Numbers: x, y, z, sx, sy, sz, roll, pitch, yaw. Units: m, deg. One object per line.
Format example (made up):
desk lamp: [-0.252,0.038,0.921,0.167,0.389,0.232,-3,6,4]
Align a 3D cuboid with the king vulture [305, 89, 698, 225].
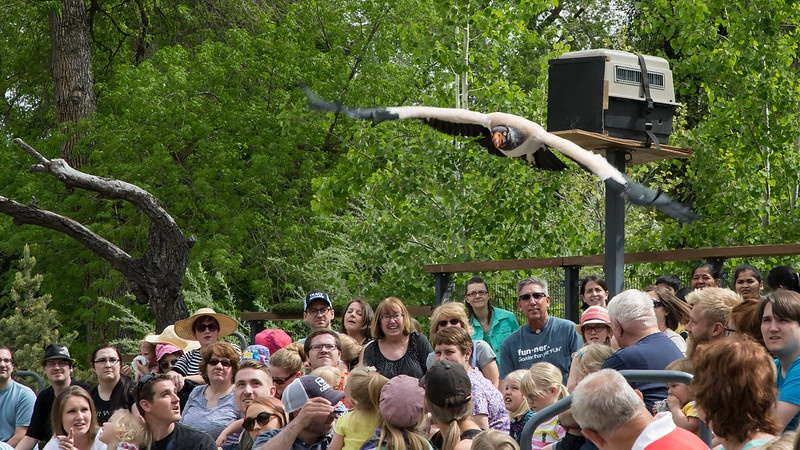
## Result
king vulture: [2.461,-1.759,25.551,9.148,0.819,3.153,19,17,19]

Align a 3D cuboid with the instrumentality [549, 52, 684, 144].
instrumentality: [4.439,-2.674,24.372,2.814,1.739,2.059,4,-4,-38]
